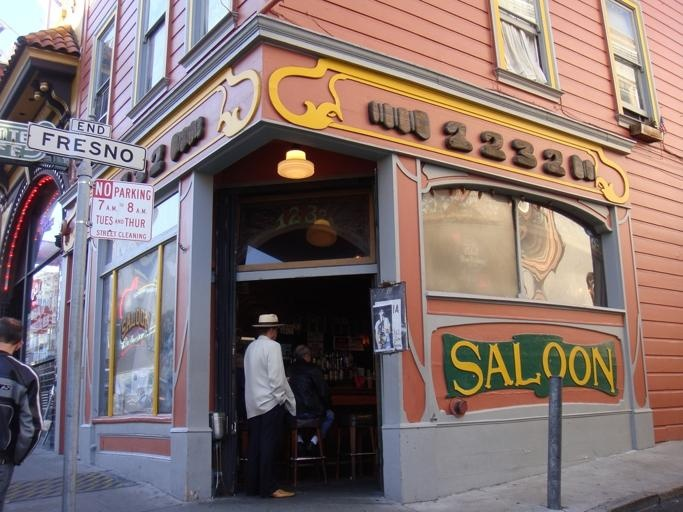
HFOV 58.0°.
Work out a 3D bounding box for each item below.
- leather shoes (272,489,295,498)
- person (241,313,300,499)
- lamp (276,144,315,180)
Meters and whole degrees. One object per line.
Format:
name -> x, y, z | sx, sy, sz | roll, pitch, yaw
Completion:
leather shoes -> -0.786, 3.336, 8.656 | 0.250, 0.111, 0.435 | -9, -17, 23
person -> -1.062, 2.152, 9.031 | 0.721, 2.612, 0.543 | 1, -14, -10
lamp -> -0.677, -1.359, 9.331 | 0.545, 0.404, 0.707 | -2, -15, -4
